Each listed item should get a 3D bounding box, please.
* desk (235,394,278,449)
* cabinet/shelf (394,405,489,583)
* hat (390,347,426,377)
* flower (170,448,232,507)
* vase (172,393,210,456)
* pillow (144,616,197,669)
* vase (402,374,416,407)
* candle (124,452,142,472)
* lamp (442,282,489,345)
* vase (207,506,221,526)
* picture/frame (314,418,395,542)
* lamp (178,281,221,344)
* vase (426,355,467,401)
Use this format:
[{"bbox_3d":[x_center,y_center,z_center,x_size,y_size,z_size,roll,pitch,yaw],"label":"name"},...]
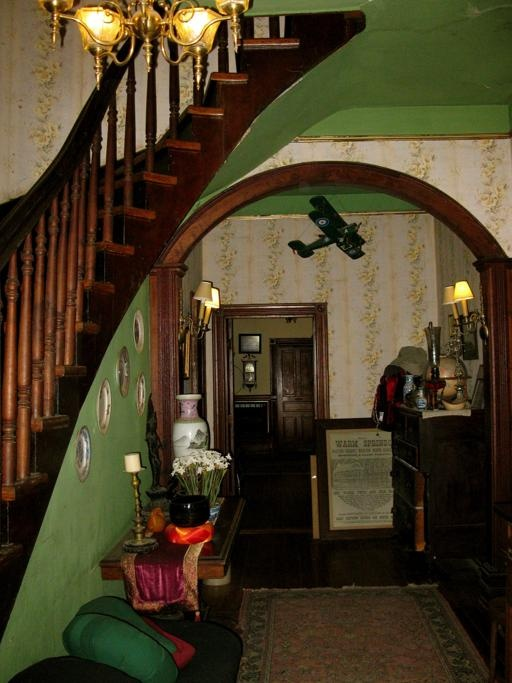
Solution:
[{"bbox_3d":[-0.006,1.285,10.555,0.659,0.629,0.674,-2,-1,0],"label":"desk"},{"bbox_3d":[1.348,1.083,4.677,0.495,1.082,1.146,-1,-7,9],"label":"cabinet/shelf"},{"bbox_3d":[1.262,0.159,5.447,0.310,0.212,0.253,-2,-1,23],"label":"hat"},{"bbox_3d":[-0.271,0.713,3.541,0.303,0.350,0.306,-2,-4,5],"label":"flower"},{"bbox_3d":[-0.373,0.483,3.712,0.211,0.365,0.215,-3,2,-20],"label":"vase"},{"bbox_3d":[-0.334,1.206,2.629,0.161,0.050,0.161,33,-3,-1],"label":"pillow"},{"bbox_3d":[1.224,0.385,5.247,0.109,0.218,0.348,-2,-1,13],"label":"vase"},{"bbox_3d":[-0.567,0.557,3.077,0.085,0.095,0.084,3,-6,-34],"label":"candle"},{"bbox_3d":[1.483,-0.201,4.611,0.235,0.438,0.300,-6,-4,-9],"label":"lamp"},{"bbox_3d":[-0.221,0.918,3.489,0.065,0.072,0.066,2,-5,-15],"label":"vase"},{"bbox_3d":[0.881,1.208,5.810,0.670,0.849,0.449,-2,-1,3],"label":"picture/frame"},{"bbox_3d":[-0.397,-0.114,4.726,0.243,0.622,0.224,11,-10,-20],"label":"lamp"},{"bbox_3d":[1.414,0.271,4.813,0.308,0.381,0.317,0,-10,7],"label":"vase"}]
